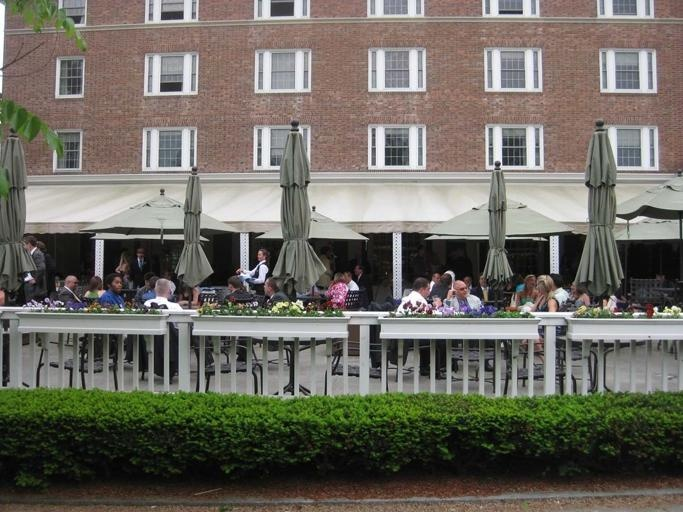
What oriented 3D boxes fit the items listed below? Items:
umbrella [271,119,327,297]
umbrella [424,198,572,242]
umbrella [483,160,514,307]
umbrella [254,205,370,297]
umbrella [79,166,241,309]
[{"bbox_3d":[-1.103,-1.020,45.671,1.017,5.046,0.889,-1,0,11],"label":"umbrella"},{"bbox_3d":[4.647,-0.984,50.703,2.121,0.659,2.094,-1,1,-39],"label":"umbrella"},{"bbox_3d":[4.352,-0.623,49.136,0.726,3.649,0.977,3,3,10],"label":"umbrella"},{"bbox_3d":[-0.625,-0.209,53.126,2.888,1.613,2.776,0,0,7],"label":"umbrella"},{"bbox_3d":[-5.256,-0.657,49.808,3.625,4.001,4.289,2,-1,12],"label":"umbrella"}]
